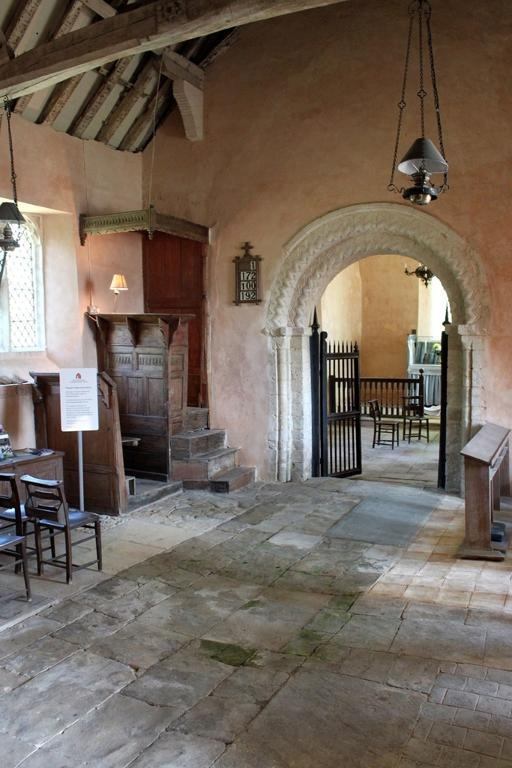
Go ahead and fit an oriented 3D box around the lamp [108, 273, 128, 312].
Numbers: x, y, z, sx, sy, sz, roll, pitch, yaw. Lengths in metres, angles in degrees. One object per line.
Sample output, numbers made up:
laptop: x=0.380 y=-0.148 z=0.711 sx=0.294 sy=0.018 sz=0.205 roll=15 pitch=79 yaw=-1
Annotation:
lamp: x=-1.846 y=-1.251 z=7.803 sx=0.240 sy=0.554 sz=0.779 roll=-3 pitch=2 yaw=-12
